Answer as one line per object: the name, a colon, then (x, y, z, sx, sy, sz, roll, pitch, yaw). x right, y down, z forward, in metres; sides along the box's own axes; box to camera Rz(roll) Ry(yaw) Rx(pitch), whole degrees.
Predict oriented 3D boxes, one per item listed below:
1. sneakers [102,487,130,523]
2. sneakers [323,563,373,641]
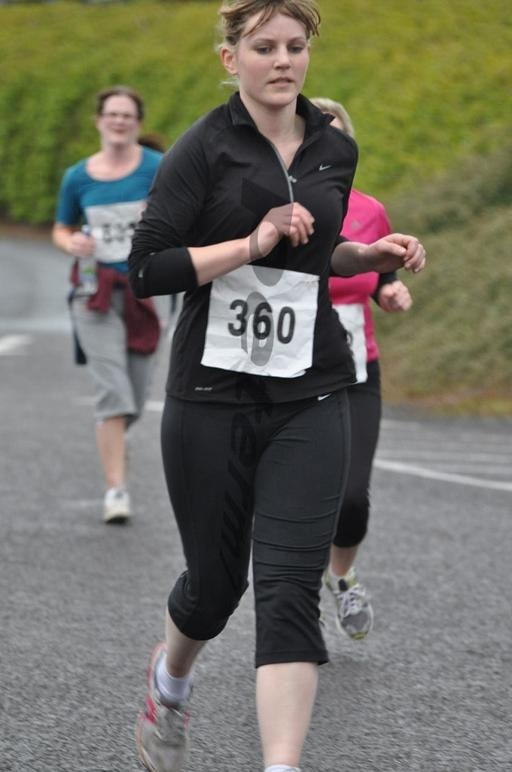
sneakers: (-0.821, 0.709, 4.074, 0.157, 0.199, 0.124, 0, 9, -11)
sneakers: (0.363, 0.857, 2.714, 0.123, 0.130, 0.300, -21, 65, 3)
